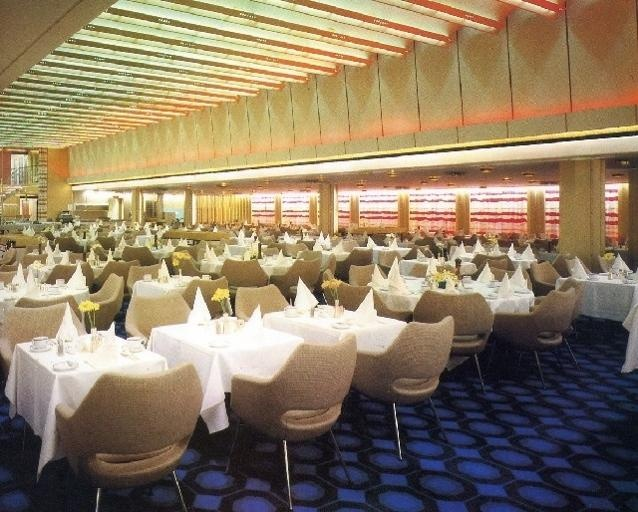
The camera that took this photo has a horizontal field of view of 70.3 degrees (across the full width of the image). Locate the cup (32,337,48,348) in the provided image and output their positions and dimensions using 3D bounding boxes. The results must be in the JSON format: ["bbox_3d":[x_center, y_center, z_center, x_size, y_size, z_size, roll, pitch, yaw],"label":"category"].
[{"bbox_3d":[-1.856,0.579,3.009,0.063,0.053,0.082,-4,-6,31],"label":"cup"}]

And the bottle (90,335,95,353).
[{"bbox_3d":[-1.495,0.576,2.993,0.040,0.106,0.075,-2,7,-28],"label":"bottle"}]

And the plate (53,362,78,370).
[{"bbox_3d":[-1.479,0.644,2.635,0.068,0.023,0.067,0,1,-19],"label":"plate"}]
